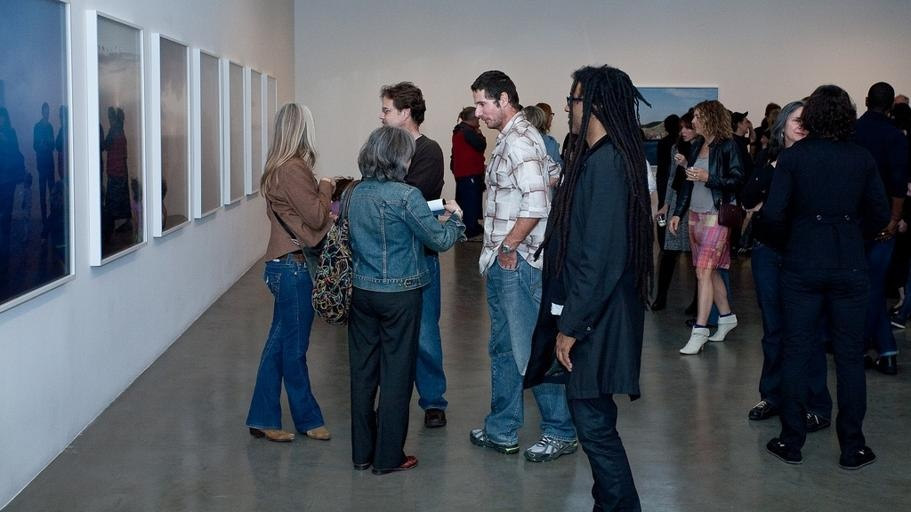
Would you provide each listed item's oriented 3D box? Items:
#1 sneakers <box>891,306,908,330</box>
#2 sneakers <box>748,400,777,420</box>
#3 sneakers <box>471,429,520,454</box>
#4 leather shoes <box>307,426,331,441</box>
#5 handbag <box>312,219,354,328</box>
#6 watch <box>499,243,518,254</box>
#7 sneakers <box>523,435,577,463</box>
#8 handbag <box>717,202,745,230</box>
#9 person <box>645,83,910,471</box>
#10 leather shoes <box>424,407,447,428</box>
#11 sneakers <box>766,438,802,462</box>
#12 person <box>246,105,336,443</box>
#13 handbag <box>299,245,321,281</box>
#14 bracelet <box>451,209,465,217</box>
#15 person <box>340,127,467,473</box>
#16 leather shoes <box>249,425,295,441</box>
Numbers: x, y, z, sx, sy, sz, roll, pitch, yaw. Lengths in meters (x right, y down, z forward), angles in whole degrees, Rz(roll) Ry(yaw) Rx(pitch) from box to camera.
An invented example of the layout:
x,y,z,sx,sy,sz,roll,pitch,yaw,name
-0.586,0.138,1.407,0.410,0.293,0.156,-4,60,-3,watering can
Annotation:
x,y,z,sx,sy,sz,roll,pitch,yaw,name
5.174,0.733,7.356,0.161,0.182,0.435,-1,4,25,sneakers
2.553,1.292,5.270,0.325,0.110,0.110,4,-8,-36,sneakers
0.303,1.402,4.907,0.374,0.150,0.147,12,11,31,sneakers
-1.068,1.390,4.951,0.195,0.075,0.091,-6,-5,30,leather shoes
-0.845,0.117,4.406,0.267,0.722,0.260,-13,20,-39,handbag
0.365,-0.057,4.439,0.103,0.058,0.106,-4,10,-42,watch
0.697,1.438,4.798,0.448,0.185,0.154,-4,-2,-14,sneakers
2.787,-0.418,6.442,0.329,0.250,0.101,2,7,-6,handbag
2.965,0.120,4.731,1.366,2.688,0.912,-7,17,-25,person
-0.161,1.321,5.202,0.117,0.077,0.199,1,4,1,leather shoes
2.432,1.436,4.745,0.129,0.097,0.265,-5,14,-20,sneakers
-1.285,0.156,4.816,0.744,2.542,0.624,-2,16,-8,person
-1.065,0.044,4.619,0.195,0.233,0.092,-1,2,-1,handbag
0.017,-0.302,4.608,0.074,0.031,0.052,29,37,-10,bracelet
-0.471,0.317,4.500,0.737,2.408,0.569,-12,20,-36,person
-1.447,1.367,4.970,0.345,0.122,0.124,0,-2,12,leather shoes
